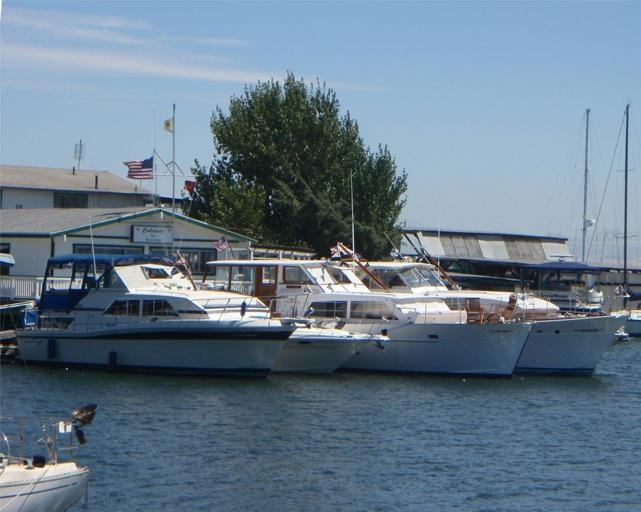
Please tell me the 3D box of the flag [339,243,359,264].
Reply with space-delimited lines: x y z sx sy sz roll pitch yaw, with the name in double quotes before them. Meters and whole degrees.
"flag" 1.042 -0.027 53.829 0.402 0.254 1.097 14 11 -19
